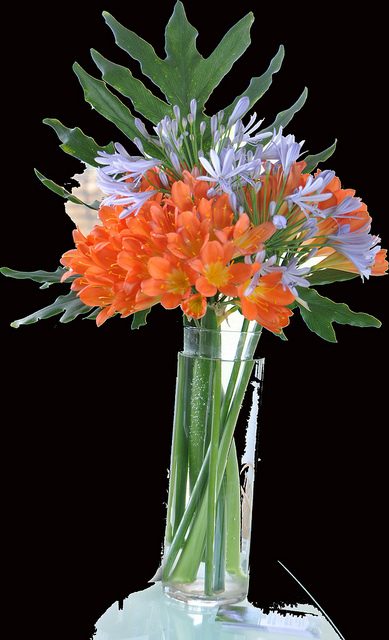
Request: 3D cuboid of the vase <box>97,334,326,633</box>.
[{"bbox_3d":[0.021,0.220,1.052,0.446,0.416,0.462,9,-82,42],"label":"vase"}]
